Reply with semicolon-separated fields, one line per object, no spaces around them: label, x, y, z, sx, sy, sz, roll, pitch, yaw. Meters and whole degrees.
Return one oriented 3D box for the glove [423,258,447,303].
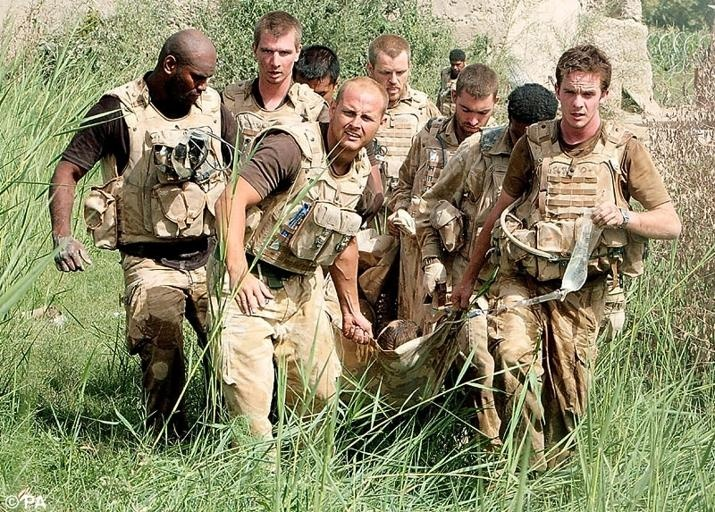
glove;0.540;0.178;5.331;0.087;0.200;0.277;-3;55;-10
